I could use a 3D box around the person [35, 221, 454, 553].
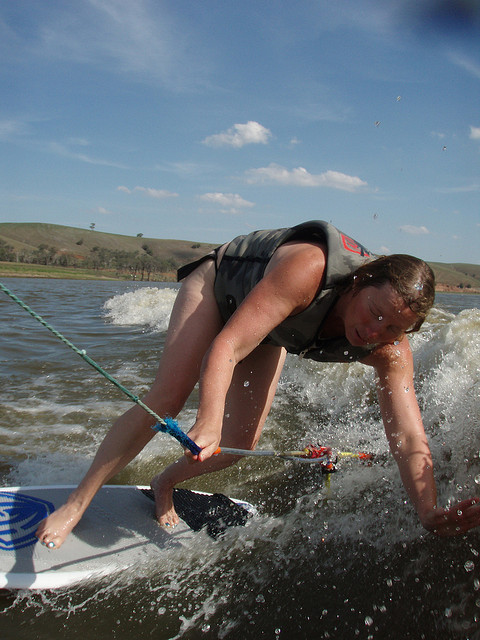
[{"bbox_3d":[-0.207,0.344,2.798,1.250,1.367,2.705,9,-13,-38],"label":"person"}]
